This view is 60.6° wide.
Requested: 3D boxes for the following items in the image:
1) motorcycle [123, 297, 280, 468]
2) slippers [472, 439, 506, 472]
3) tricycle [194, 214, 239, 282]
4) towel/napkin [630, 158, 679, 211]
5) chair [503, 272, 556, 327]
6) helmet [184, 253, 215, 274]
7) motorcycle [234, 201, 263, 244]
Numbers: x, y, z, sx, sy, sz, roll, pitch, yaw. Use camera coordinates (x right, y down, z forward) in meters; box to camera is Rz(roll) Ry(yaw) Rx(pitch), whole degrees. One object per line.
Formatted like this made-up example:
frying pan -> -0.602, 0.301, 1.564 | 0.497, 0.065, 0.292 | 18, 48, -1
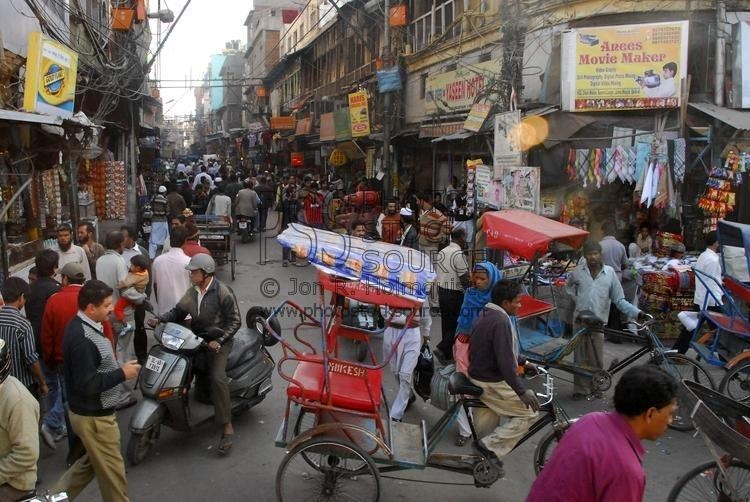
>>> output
motorcycle -> -2.308, 1.641, 8.134 | 0.889, 1.823, 2.394 | 3, 6, 26
slippers -> 1.265, 2.259, 7.285 | 0.497, 0.209, 0.169 | 46, 1, 12
tricycle -> -3.949, -0.145, 15.417 | 0.991, 1.467, 1.922 | -2, 11, -11
towel/napkin -> 5.721, -1.296, 13.081 | 0.658, 1.148, 0.556 | 0, -4, 1
chair -> 2.355, 0.739, 9.744 | 0.561, 1.020, 0.690 | -14, 23, -36
helmet -> -2.246, 0.137, 8.218 | 0.310, 0.181, 0.235 | 14, 11, 0
motorcycle -> -3.961, -1.241, 20.030 | 0.587, 0.959, 1.671 | 2, 22, -3
